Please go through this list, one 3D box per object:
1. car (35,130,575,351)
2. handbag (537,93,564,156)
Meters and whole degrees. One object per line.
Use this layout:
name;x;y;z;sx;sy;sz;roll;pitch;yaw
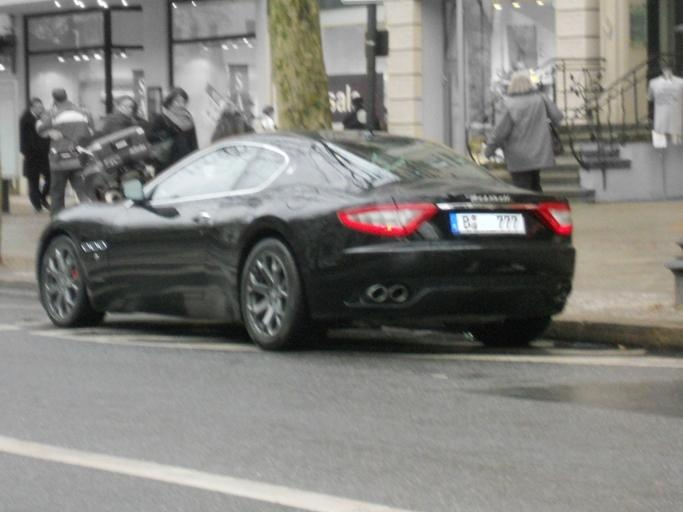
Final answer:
car;-0.482;-0.198;6.576;4.641;1.847;1.249;1;4;27
handbag;3.470;-2.014;12.328;0.236;1.161;0.586;-22;-7;18
